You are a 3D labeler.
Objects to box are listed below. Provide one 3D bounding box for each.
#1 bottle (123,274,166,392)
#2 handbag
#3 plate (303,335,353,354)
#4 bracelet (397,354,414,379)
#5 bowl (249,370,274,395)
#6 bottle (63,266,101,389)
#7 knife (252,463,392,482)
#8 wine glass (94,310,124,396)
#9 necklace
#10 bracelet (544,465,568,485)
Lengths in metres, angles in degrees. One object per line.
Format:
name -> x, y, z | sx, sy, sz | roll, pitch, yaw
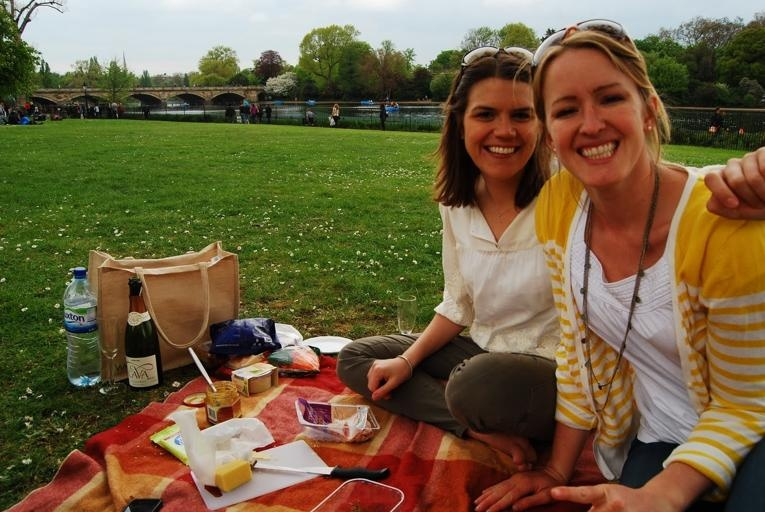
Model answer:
bottle -> -1.911, 0.621, 4.447 | 0.269, 0.888, 0.269 | -3, 13, 1
handbag -> -1.793, 0.445, 4.729 | 0.579, 0.950, 1.099 | 17, 17, 40
plate -> -0.521, 0.803, 5.142 | 0.294, 0.039, 0.290 | 7, 15, 23
bracelet -> 0.169, 0.777, 3.973 | 0.037, 0.125, 0.133 | -29, 21, -14
bowl -> -0.949, 0.982, 4.381 | 0.066, 0.151, 0.209 | 10, 13, 37
bottle -> -2.423, 0.575, 4.562 | 0.303, 0.973, 0.288 | 4, 12, -1
knife -> -0.389, 1.307, 3.467 | 0.856, 0.087, 0.160 | 3, 10, 3
wine glass -> -2.145, 0.782, 4.374 | 0.149, 0.577, 0.149 | -1, 11, -13
necklace -> 1.235, 0.233, 3.105 | 0.359, 1.273, 0.431 | 1, 20, 2
bracelet -> 1.032, 1.291, 3.309 | 0.095, 0.081, 0.072 | -9, 1, 19
